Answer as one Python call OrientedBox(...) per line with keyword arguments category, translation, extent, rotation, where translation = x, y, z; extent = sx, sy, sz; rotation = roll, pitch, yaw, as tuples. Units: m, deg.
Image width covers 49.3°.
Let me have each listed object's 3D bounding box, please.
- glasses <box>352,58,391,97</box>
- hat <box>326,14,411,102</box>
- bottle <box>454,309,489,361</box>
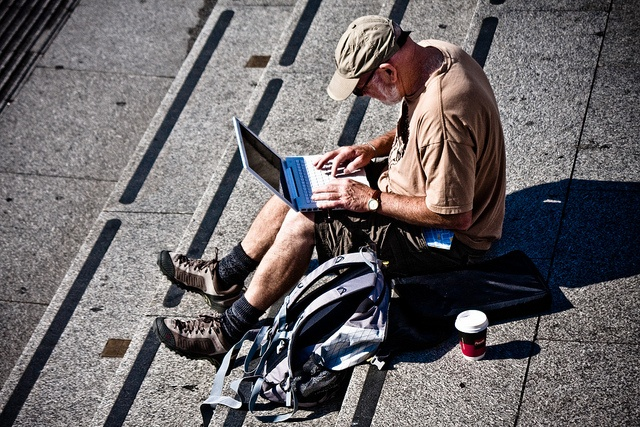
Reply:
OrientedBox(category="glasses", translation=(0.339, -0.940, 4.930), extent=(0.069, 0.212, 0.226), rotation=(41, 107, -3))
OrientedBox(category="hat", translation=(0.289, -1.120, 4.931), extent=(0.648, 0.324, 0.421), rotation=(-42, 46, 12))
OrientedBox(category="bottle", translation=(1.061, 0.864, 4.920), extent=(0.202, 0.258, 0.210), rotation=(-4, 39, 3))
